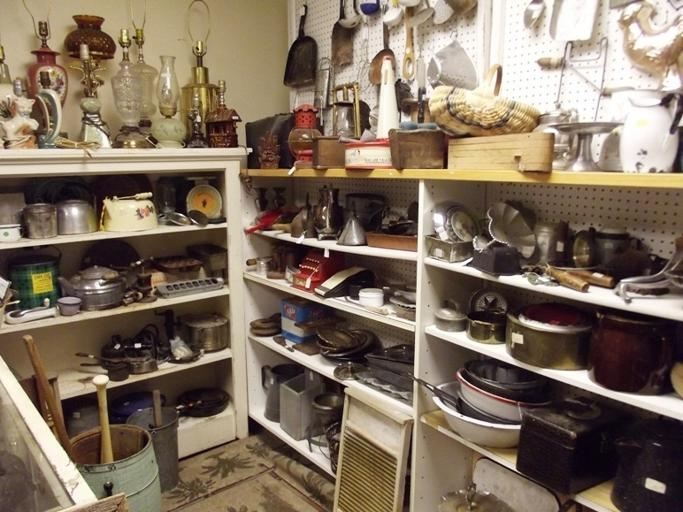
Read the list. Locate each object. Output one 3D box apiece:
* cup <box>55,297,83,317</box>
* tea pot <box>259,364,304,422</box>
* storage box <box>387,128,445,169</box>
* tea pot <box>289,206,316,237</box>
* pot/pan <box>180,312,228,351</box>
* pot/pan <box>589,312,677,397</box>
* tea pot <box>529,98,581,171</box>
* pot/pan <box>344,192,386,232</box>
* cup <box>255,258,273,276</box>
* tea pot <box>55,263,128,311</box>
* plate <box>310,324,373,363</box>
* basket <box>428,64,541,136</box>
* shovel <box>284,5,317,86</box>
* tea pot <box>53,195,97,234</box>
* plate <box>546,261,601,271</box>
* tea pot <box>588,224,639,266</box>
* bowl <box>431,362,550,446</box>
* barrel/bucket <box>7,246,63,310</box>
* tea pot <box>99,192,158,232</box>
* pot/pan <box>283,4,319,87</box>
[{"bbox_3d":[-1.465,0.265,2.983,0.109,0.077,0.099,-1,7,-35],"label":"cup"},{"bbox_3d":[-0.417,0.876,3.658,0.229,0.350,0.343,-3,8,-40],"label":"tea pot"},{"bbox_3d":[0.335,-0.484,2.496,0.288,0.221,0.164,-1,13,-6],"label":"storage box"},{"bbox_3d":[-0.236,-0.216,3.194,0.146,0.149,0.162,-2,22,-14],"label":"tea pot"},{"bbox_3d":[-0.886,0.489,3.611,0.240,0.165,0.262,-4,7,-30],"label":"pot/pan"},{"bbox_3d":[1.013,0.338,2.051,0.259,0.267,0.269,4,5,-13],"label":"pot/pan"},{"bbox_3d":[0.883,-0.484,2.258,0.223,0.299,0.289,6,14,25],"label":"tea pot"},{"bbox_3d":[0.132,-0.246,3.000,0.217,0.207,0.172,2,12,14],"label":"pot/pan"},{"bbox_3d":[-0.493,0.059,3.505,0.080,0.096,0.105,6,7,32],"label":"cup"},{"bbox_3d":[-1.388,0.157,3.069,0.287,0.194,0.229,2,12,-21],"label":"tea pot"},{"bbox_3d":[0.033,0.484,3.124,0.202,0.080,0.202,-8,18,-38],"label":"plate"},{"bbox_3d":[0.580,-0.636,2.246,0.366,0.287,0.301,-10,15,-29],"label":"basket"},{"bbox_3d":[-0.257,-1.342,3.544,0.234,0.464,0.066,14,19,43],"label":"shovel"},{"bbox_3d":[-1.437,-0.222,3.019,0.177,0.179,0.183,0,3,0],"label":"tea pot"},{"bbox_3d":[0.920,0.041,2.202,0.179,0.018,0.135,-3,14,1],"label":"plate"},{"bbox_3d":[1.052,-0.047,2.160,0.167,0.170,0.127,3,7,25],"label":"tea pot"},{"bbox_3d":[0.674,0.614,2.359,0.377,0.178,0.383,1,18,0],"label":"bowl"},{"bbox_3d":[-1.640,0.098,3.119,0.272,0.305,0.286,3,13,-1],"label":"barrel/bucket"},{"bbox_3d":[-1.205,-0.285,3.141,0.237,0.157,0.242,0,10,0],"label":"tea pot"},{"bbox_3d":[-0.286,-1.367,3.602,0.132,0.518,0.308,-12,16,-36],"label":"pot/pan"}]
